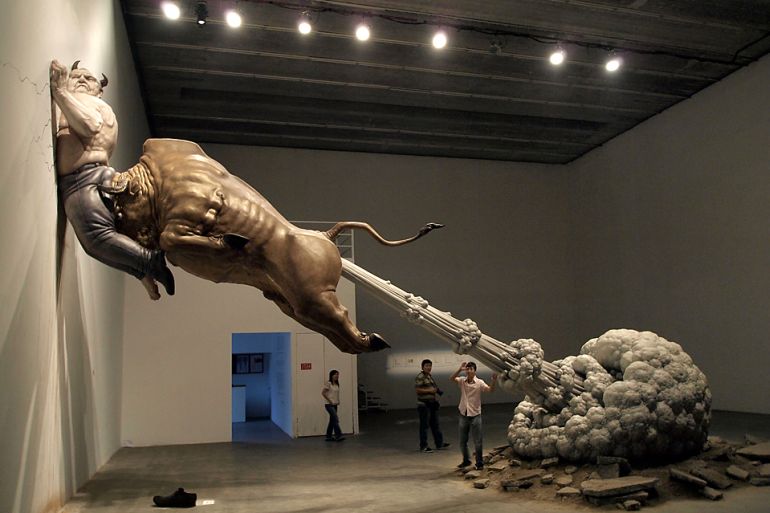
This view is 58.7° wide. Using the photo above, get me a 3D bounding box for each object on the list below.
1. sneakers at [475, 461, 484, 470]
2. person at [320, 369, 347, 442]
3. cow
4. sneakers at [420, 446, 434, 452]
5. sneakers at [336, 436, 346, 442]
[{"bbox_3d":[1.708,3.777,12.425,0.152,0.108,0.301,-2,-5,7],"label":"sneakers"},{"bbox_3d":[-1.227,3.433,16.054,0.500,1.592,0.730,-1,-4,-5],"label":"person"},{"bbox_3d":[-1.954,-0.279,10.489,5.606,2.616,1.894,21,16,-6],"label":"cow"},{"bbox_3d":[0.873,4.048,14.443,0.237,0.102,0.093,-6,-7,30],"label":"sneakers"},{"bbox_3d":[-1.028,4.181,15.775,0.192,0.187,0.094,-23,-27,39],"label":"sneakers"}]
